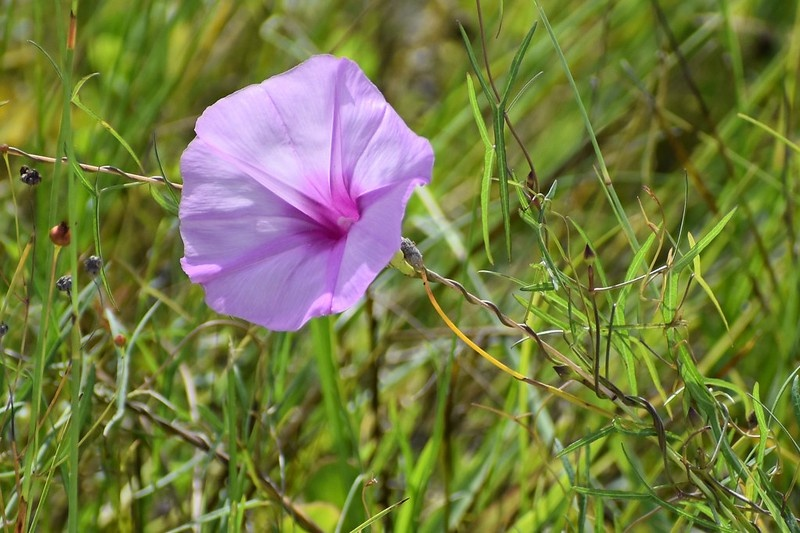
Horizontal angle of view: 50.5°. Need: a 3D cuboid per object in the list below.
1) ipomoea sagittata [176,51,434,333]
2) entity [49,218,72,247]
[{"bbox_3d":[-0.182,-0.120,1.438,0.395,0.250,0.451,-36,66,-26],"label":"ipomoea sagittata"},{"bbox_3d":[-0.560,-0.055,1.394,0.027,0.038,0.029,32,62,-1],"label":"entity"}]
